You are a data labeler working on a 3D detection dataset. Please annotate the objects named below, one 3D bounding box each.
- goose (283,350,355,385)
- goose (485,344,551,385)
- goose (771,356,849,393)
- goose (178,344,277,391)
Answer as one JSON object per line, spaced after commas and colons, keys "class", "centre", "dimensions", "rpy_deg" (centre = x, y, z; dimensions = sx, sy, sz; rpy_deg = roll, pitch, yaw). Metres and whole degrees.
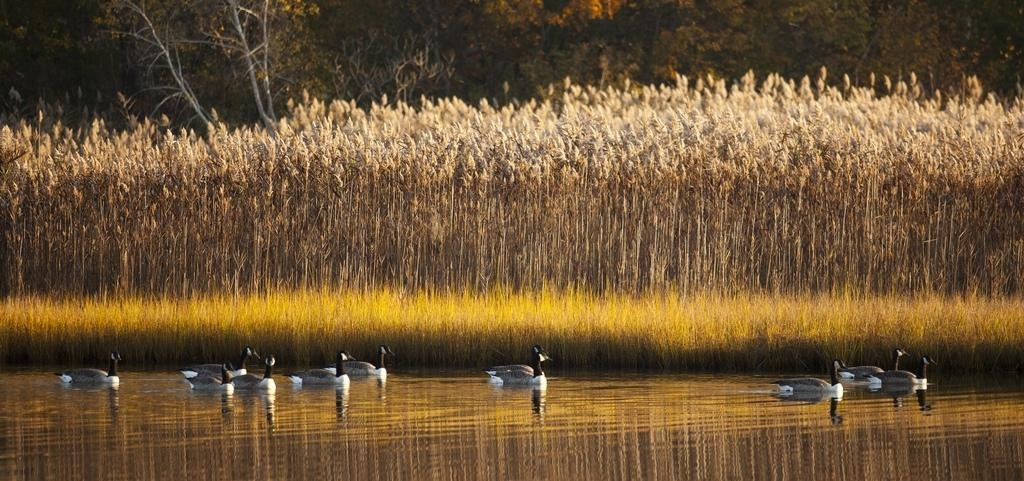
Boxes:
{"class": "goose", "centre": [-5.593, 3.774, 48.945], "dimensions": [2.349, 1.276, 0.738], "rpy_deg": [1, 1, 1]}
{"class": "goose", "centre": [0.199, 3.614, 48.439], "dimensions": [1.692, 1.148, 0.355], "rpy_deg": [-3, -9, 9]}
{"class": "goose", "centre": [8.648, 4.009, 47.587], "dimensions": [2.549, 1.349, 1.071], "rpy_deg": [-1, -1, 12]}
{"class": "goose", "centre": [-8.196, 3.684, 48.187], "dimensions": [2.642, 1.354, 1.202], "rpy_deg": [0, -9, -6]}
